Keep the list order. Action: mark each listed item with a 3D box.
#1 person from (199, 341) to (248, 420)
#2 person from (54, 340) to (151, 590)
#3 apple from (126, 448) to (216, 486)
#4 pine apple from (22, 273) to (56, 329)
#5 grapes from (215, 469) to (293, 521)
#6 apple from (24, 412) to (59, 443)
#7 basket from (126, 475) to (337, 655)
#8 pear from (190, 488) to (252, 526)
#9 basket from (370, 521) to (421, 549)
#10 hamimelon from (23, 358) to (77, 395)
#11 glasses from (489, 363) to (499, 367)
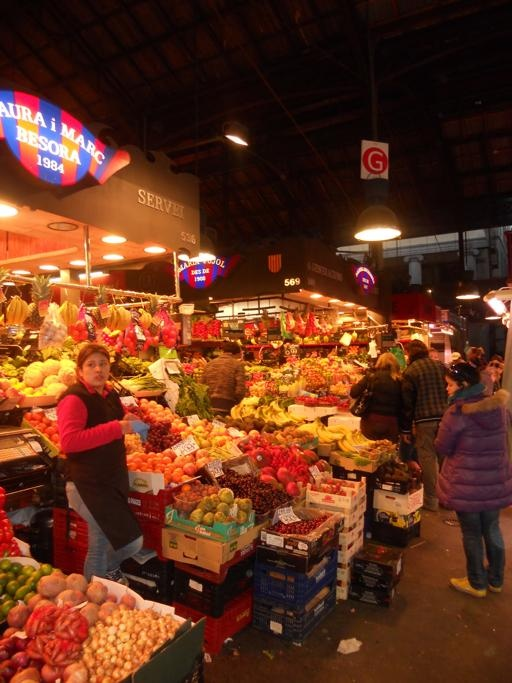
[{"bbox_3d":[-0.393,0.471,6.310,0.519,0.875,0.522,21,6,34],"label":"person"},{"bbox_3d":[-0.931,0.680,3.004,0.475,1.423,0.496,0,1,29],"label":"person"},{"bbox_3d":[-0.618,0.798,3.509,0.490,0.161,0.471,-1,5,-40],"label":"apple"},{"bbox_3d":[-1.540,-0.284,3.577,0.126,0.381,0.219,2,6,0],"label":"pine apple"},{"bbox_3d":[-0.007,1.011,3.514,0.406,0.212,0.431,5,5,24],"label":"grapes"},{"bbox_3d":[-1.532,0.610,3.667,0.223,0.085,0.226,37,7,-36],"label":"apple"},{"bbox_3d":[-0.112,1.264,3.503,1.271,0.805,1.104,4,4,22],"label":"basket"},{"bbox_3d":[-0.215,1.014,3.129,0.309,0.173,0.371,2,1,30],"label":"pear"},{"bbox_3d":[1.219,1.698,4.539,0.260,0.152,0.254,4,-5,-44],"label":"basket"},{"bbox_3d":[-1.617,0.278,3.994,0.323,0.121,0.306,0,31,-13],"label":"hamimelon"},{"bbox_3d":[3.633,0.347,7.824,0.110,0.040,0.078,-3,9,-30],"label":"glasses"}]
